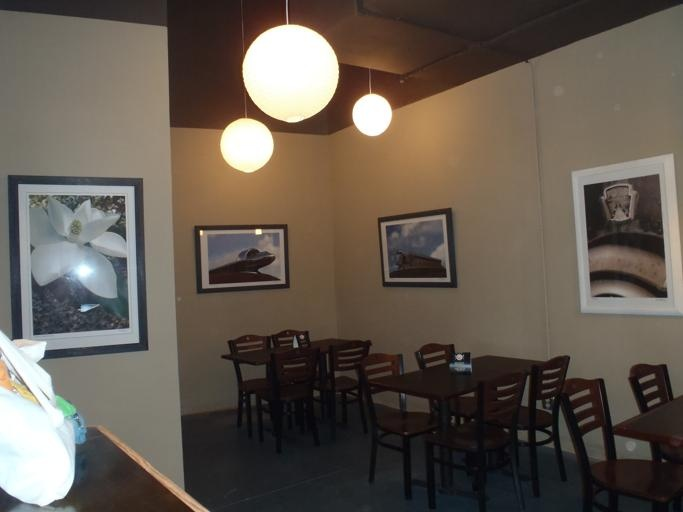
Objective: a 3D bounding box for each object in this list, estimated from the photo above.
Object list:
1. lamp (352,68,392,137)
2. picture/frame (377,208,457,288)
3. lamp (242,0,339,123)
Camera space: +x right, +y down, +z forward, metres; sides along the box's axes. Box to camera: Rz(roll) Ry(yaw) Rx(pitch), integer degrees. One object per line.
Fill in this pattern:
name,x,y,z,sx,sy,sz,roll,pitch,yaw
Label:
lamp,0.260,-1.190,4.442,0.311,0.280,0.223,-2,1,2
picture/frame,0.814,-0.089,5.458,0.030,0.711,0.783,-4,1,-42
lamp,-0.238,-0.915,2.641,0.397,0.939,0.421,-1,10,-4
